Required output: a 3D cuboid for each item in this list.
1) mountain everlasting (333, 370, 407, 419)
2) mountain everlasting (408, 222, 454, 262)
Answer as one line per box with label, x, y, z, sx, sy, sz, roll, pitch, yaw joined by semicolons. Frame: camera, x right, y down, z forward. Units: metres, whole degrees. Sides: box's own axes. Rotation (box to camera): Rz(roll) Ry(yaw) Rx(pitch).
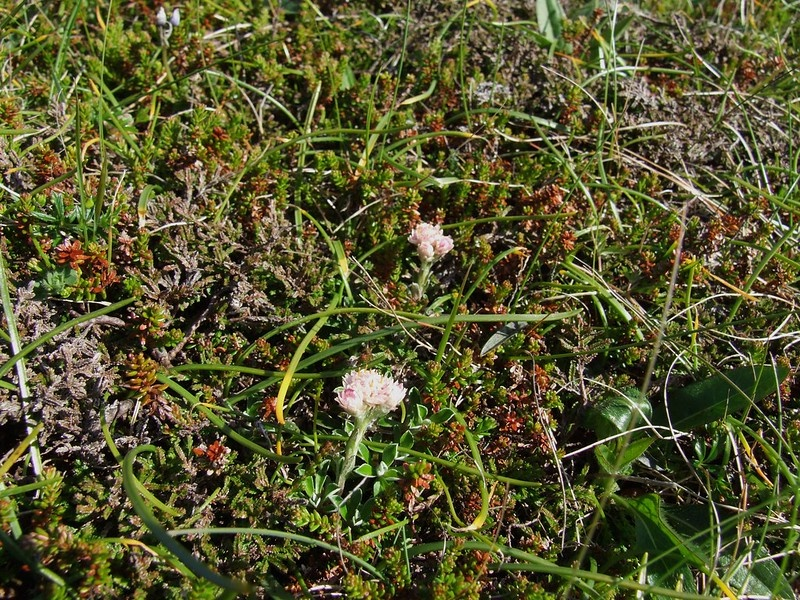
mountain everlasting;-0.095;0.334;2.865;0.193;0.159;0.198;17;26;32
mountain everlasting;0.133;-0.249;3.312;0.164;0.159;0.174;9;63;10
